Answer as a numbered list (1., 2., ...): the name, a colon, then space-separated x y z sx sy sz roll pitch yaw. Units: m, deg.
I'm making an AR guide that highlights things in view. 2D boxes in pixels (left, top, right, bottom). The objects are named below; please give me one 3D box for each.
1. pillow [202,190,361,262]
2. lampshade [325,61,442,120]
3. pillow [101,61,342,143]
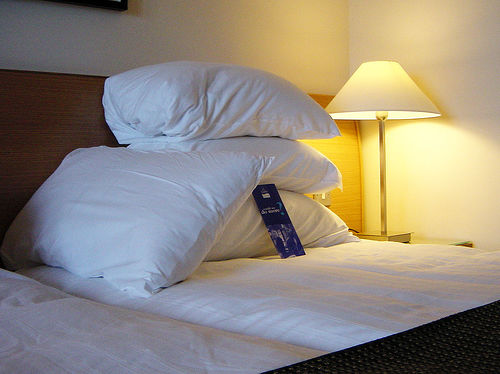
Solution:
1. pillow: 0.060 0.107 1.485 0.560 0.237 0.464 1 2 -42
2. lampshade: 0.705 -0.533 1.984 0.562 0.296 0.217 -1 1 -1
3. pillow: -0.115 -0.336 1.528 0.948 0.325 0.337 -1 1 -18
